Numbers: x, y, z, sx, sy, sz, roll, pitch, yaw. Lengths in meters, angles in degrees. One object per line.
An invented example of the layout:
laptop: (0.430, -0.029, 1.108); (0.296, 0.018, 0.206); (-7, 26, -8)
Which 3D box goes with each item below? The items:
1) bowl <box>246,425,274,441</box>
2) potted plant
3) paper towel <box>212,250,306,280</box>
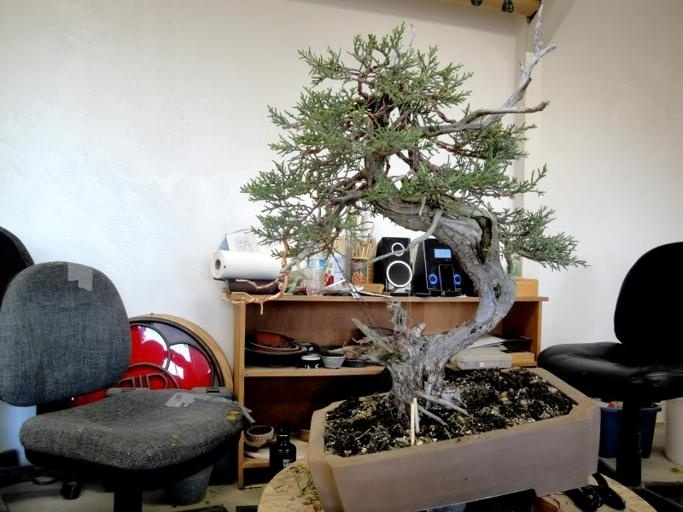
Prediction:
bowl: (-0.418, 0.900, 2.625); (0.135, 0.047, 0.117); (-2, 1, -10)
potted plant: (0.219, -0.102, 1.700); (1.070, 1.178, 0.354); (-1, 2, 0)
paper towel: (-0.488, 0.051, 2.541); (0.398, 0.157, 0.161); (2, 2, -23)
